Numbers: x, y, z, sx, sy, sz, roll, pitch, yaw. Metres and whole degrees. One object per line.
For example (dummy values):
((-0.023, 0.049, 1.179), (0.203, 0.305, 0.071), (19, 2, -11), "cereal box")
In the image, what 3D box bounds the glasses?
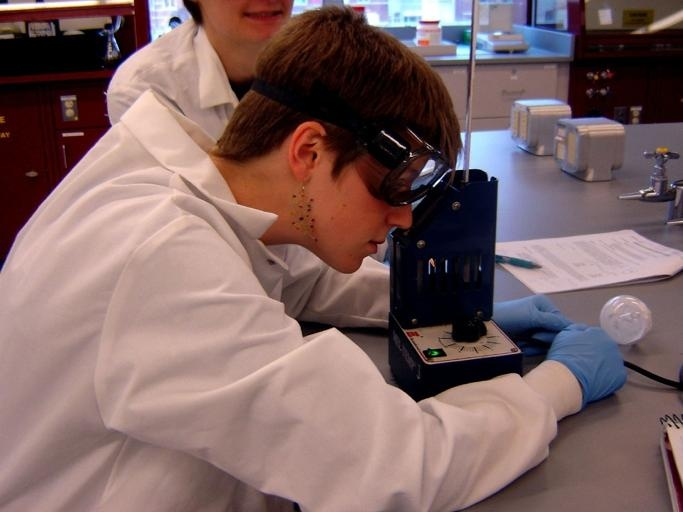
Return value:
((0.119, -0.200, 1.166), (0.179, 0.079, 0.159), (44, -4, 18), "glasses")

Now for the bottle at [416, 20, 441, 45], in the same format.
((0.755, -1.952, 4.985), (0.219, 0.253, 0.241), (0, 11, -3), "bottle")

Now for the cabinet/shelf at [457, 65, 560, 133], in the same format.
((1.479, -1.422, 5.041), (0.860, 0.626, 0.579), (-2, 17, -3), "cabinet/shelf")
